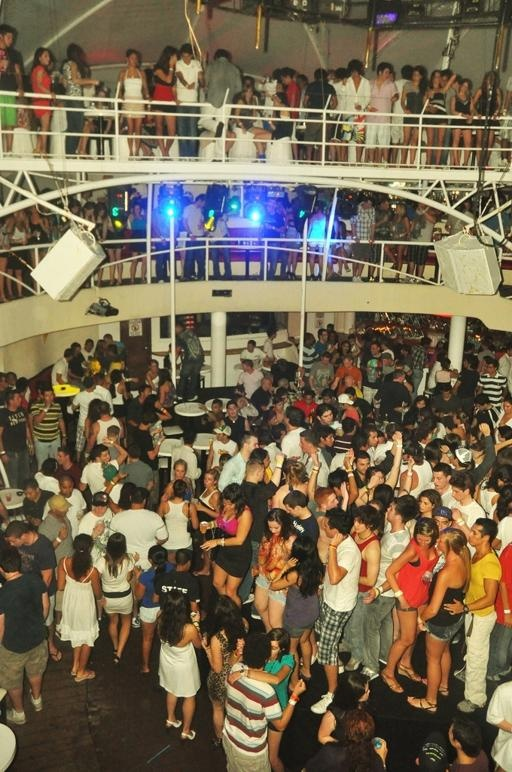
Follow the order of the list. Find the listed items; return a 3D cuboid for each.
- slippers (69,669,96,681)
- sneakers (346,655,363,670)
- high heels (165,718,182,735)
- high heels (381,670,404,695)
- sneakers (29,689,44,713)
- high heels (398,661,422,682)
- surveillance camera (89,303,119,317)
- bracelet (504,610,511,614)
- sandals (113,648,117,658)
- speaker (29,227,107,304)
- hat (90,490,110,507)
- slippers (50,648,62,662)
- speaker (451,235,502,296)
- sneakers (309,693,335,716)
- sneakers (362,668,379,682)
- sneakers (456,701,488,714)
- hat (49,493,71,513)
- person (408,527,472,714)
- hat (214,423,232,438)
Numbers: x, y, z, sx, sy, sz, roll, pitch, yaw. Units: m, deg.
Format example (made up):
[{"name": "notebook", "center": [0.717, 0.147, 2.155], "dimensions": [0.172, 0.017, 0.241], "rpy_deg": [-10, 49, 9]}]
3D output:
[{"name": "slippers", "center": [-1.474, 2.480, 5.794], "dimensions": [0.083, 0.042, 0.151], "rpy_deg": [15, 18, 35]}, {"name": "sneakers", "center": [0.824, 2.410, 5.871], "dimensions": [0.080, 0.156, 0.062], "rpy_deg": [-2, -17, 41]}, {"name": "high heels", "center": [-0.653, 2.638, 5.277], "dimensions": [0.074, 0.047, 0.117], "rpy_deg": [9, 10, 23]}, {"name": "high heels", "center": [1.131, 2.458, 5.670], "dimensions": [0.129, 0.095, 0.249], "rpy_deg": [0, 10, -17]}, {"name": "sneakers", "center": [-1.770, 2.527, 5.452], "dimensions": [0.066, 0.076, 0.187], "rpy_deg": [0, 16, -18]}, {"name": "high heels", "center": [1.292, 2.445, 5.810], "dimensions": [0.083, 0.084, 0.211], "rpy_deg": [6, -5, -34]}, {"name": "surveillance camera", "center": [-2.162, -1.105, 9.509], "dimensions": [0.380, 0.236, 0.377], "rpy_deg": [0, 10, -18]}, {"name": "bracelet", "center": [1.941, 1.756, 5.284], "dimensions": [0.031, 0.015, 0.040], "rpy_deg": [1, -9, 21]}, {"name": "sandals", "center": [-1.283, 2.405, 6.137], "dimensions": [0.040, 0.083, 0.118], "rpy_deg": [3, -11, -7]}, {"name": "speaker", "center": [-1.871, -1.230, 6.803], "dimensions": [0.682, 0.734, 0.287], "rpy_deg": [6, 10, 19]}, {"name": "hat", "center": [-1.387, 0.973, 5.960], "dimensions": [0.109, 0.144, 0.147], "rpy_deg": [3, -35, 8]}, {"name": "slippers", "center": [-1.802, 2.394, 6.036], "dimensions": [0.062, 0.131, 0.120], "rpy_deg": [8, -37, -22]}, {"name": "speaker", "center": [2.425, -1.367, 7.573], "dimensions": [0.443, 0.646, 0.368], "rpy_deg": [8, 11, 28]}, {"name": "sneakers", "center": [0.511, 2.515, 5.441], "dimensions": [0.166, 0.163, 0.208], "rpy_deg": [1, 10, -14]}, {"name": "sneakers", "center": [0.944, 2.425, 5.713], "dimensions": [0.132, 0.087, 0.081], "rpy_deg": [29, 35, -7]}, {"name": "sneakers", "center": [1.699, 2.529, 5.379], "dimensions": [0.175, 0.075, 0.086], "rpy_deg": [7, 4, -3]}, {"name": "hat", "center": [-1.677, 0.998, 5.792], "dimensions": [0.167, 0.093, 0.123], "rpy_deg": [4, 29, -13]}, {"name": "person", "center": [1.393, 1.802, 5.190], "dimensions": [0.375, 1.583, 0.694], "rpy_deg": [5, 10, 15]}, {"name": "hat", "center": [-0.389, 0.529, 7.999], "dimensions": [0.190, 0.100, 0.130], "rpy_deg": [22, -13, -40]}]
